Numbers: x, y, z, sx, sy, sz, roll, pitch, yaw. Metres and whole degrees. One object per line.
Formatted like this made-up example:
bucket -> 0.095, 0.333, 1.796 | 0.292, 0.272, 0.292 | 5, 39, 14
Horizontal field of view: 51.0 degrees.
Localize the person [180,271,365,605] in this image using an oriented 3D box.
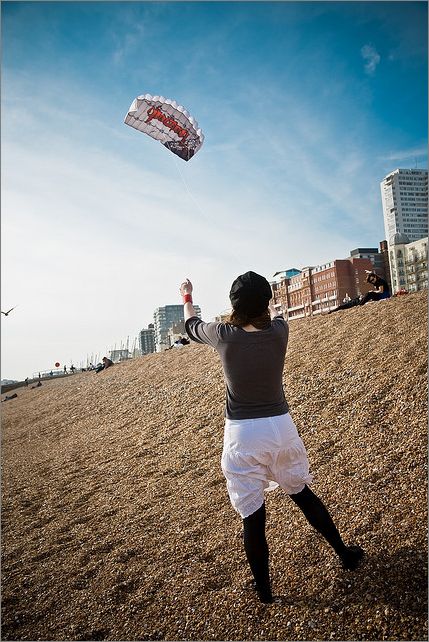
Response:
person -> 0.326, 0.726, 2.612 | 0.660, 1.928, 0.432 | -14, 0, -4
